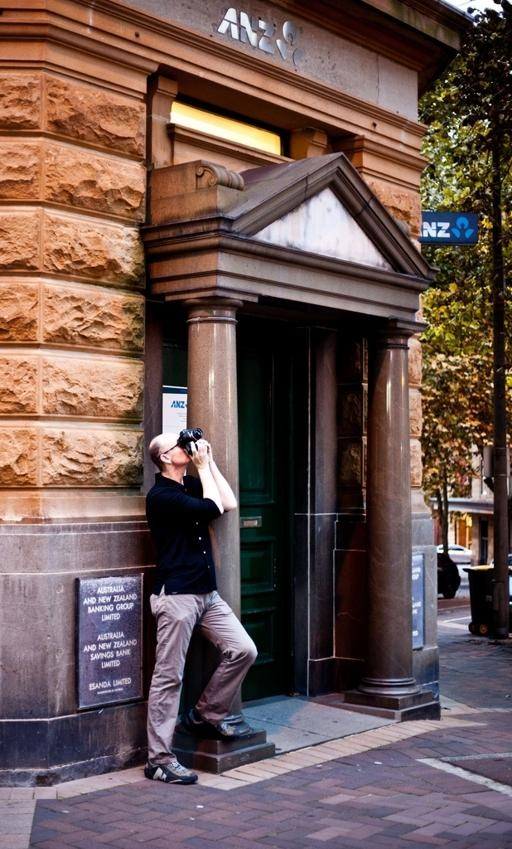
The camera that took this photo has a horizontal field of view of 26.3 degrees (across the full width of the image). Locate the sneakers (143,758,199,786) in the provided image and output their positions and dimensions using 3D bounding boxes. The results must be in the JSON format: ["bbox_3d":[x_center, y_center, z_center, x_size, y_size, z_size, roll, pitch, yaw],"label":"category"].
[{"bbox_3d":[-0.445,1.820,5.787,0.273,0.143,0.116,-4,-20,26],"label":"sneakers"}]

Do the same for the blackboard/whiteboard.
[{"bbox_3d":[-0.820,1.187,5.987,0.066,1.021,0.648,-1,-4,32],"label":"blackboard/whiteboard"}]

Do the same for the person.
[{"bbox_3d":[-0.318,0.978,5.985,0.585,1.829,0.527,2,-2,-21],"label":"person"}]

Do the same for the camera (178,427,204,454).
[{"bbox_3d":[-0.354,0.092,6.026,0.071,0.144,0.126,1,6,-16],"label":"camera"}]

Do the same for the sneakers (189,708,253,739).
[{"bbox_3d":[-0.190,1.682,6.126,0.378,0.200,0.158,7,2,-2],"label":"sneakers"}]
